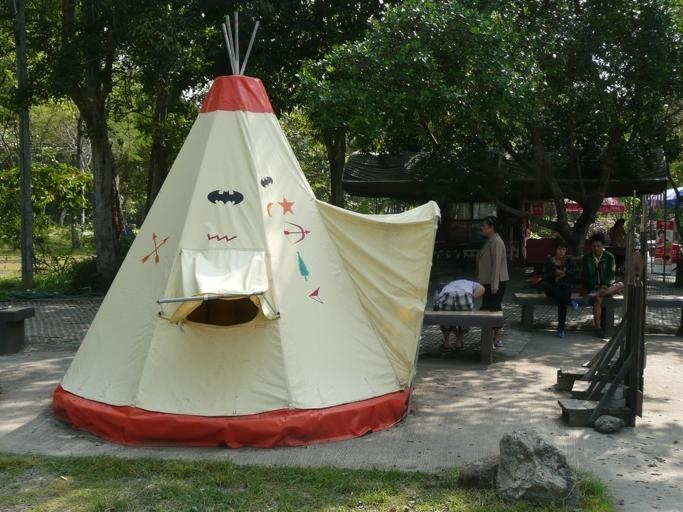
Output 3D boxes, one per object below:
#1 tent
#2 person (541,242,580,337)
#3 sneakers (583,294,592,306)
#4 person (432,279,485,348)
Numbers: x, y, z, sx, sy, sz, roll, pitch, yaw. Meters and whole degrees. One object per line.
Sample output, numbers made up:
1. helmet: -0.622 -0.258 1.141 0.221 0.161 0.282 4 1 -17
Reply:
1. tent: -1.198 0.233 9.275 4.624 4.053 3.869 4 -5 -34
2. person: 4.185 0.607 12.561 0.605 1.850 0.609 -1 -2 18
3. sneakers: 4.787 0.846 12.643 0.171 0.196 0.108 -1 -2 19
4. person: 2.068 0.835 11.488 0.632 0.769 1.422 1 14 9
